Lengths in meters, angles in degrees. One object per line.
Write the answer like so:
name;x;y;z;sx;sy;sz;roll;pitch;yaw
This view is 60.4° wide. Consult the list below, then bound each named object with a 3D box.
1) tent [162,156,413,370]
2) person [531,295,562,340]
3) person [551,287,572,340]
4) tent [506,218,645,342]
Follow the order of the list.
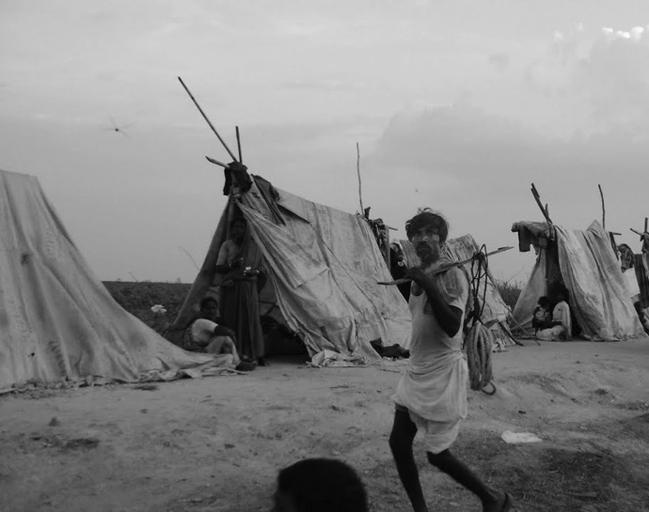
tent;-0.387;0.371;9.316;2.731;2.702;4.160;-12;-16;33
person;5.024;1.393;12.466;0.645;1.081;0.704;3;-19;-10
person;5.350;1.232;12.419;0.418;0.962;1.091;7;8;23
tent;5.702;0.717;12.612;2.188;1.819;1.644;9;-17;-33
